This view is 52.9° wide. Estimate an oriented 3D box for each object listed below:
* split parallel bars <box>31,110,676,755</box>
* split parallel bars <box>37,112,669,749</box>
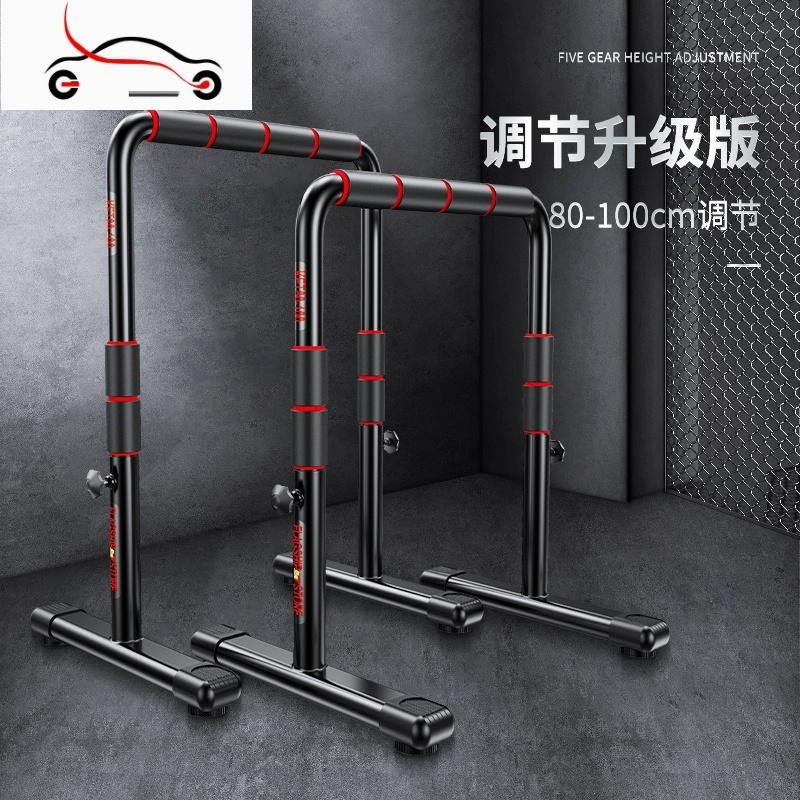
[{"bbox_3d":[-0.096,-0.043,2.411,1.222,1.796,1.624,-5,8,-44],"label":"split parallel bars"},{"bbox_3d":[-0.163,-0.035,1.969,1.070,1.301,1.184,-5,8,-45],"label":"split parallel bars"}]
